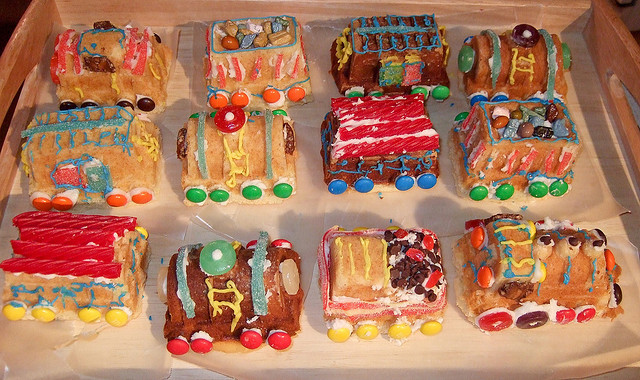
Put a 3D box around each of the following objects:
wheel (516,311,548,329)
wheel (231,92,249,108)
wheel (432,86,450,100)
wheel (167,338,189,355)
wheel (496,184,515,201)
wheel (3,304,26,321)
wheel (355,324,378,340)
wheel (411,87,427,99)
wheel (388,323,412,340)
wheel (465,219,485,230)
[{"bbox_3d":[2.361,1.466,6.392,0.241,0.245,0.087,-23,64,40],"label":"wheel"},{"bbox_3d":[-0.993,-1.114,7.066,0.225,0.222,0.136,-12,11,-2],"label":"wheel"},{"bbox_3d":[1.540,-1.226,7.237,0.189,0.141,0.143,-5,9,11],"label":"wheel"},{"bbox_3d":[-1.536,1.739,6.233,0.216,0.294,0.101,5,44,9],"label":"wheel"},{"bbox_3d":[2.209,0.028,6.822,0.155,0.192,0.107,15,55,-21],"label":"wheel"},{"bbox_3d":[-3.378,1.354,6.300,0.187,0.187,0.103,-17,45,23],"label":"wheel"},{"bbox_3d":[0.518,1.573,6.338,0.182,0.185,0.095,-3,74,39],"label":"wheel"},{"bbox_3d":[1.256,-1.232,7.265,0.181,0.142,0.141,-5,-4,-19],"label":"wheel"},{"bbox_3d":[0.890,1.570,6.333,0.215,0.159,0.047,-11,30,-1],"label":"wheel"},{"bbox_3d":[1.810,0.396,6.621,0.163,0.093,0.124,-6,1,-7],"label":"wheel"}]
